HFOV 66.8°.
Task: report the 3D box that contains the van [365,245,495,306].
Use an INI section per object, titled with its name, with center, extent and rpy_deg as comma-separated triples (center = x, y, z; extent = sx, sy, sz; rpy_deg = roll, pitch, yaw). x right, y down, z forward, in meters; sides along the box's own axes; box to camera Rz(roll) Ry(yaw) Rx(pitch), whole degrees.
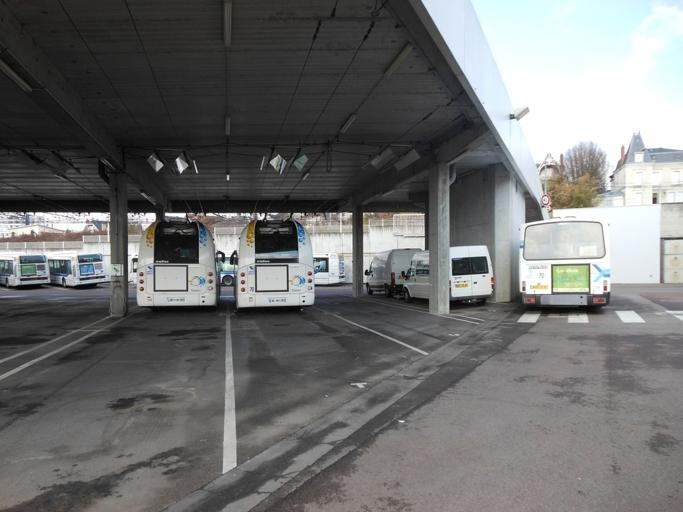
[van]
center = 4.388, 0.664, 23.956
extent = 1.958, 1.877, 5.999
rpy_deg = -1, 3, -15

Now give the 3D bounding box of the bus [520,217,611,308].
[bus]
center = 7.518, 0.177, 17.378
extent = 1.781, 2.059, 4.087
rpy_deg = 0, 4, 17
